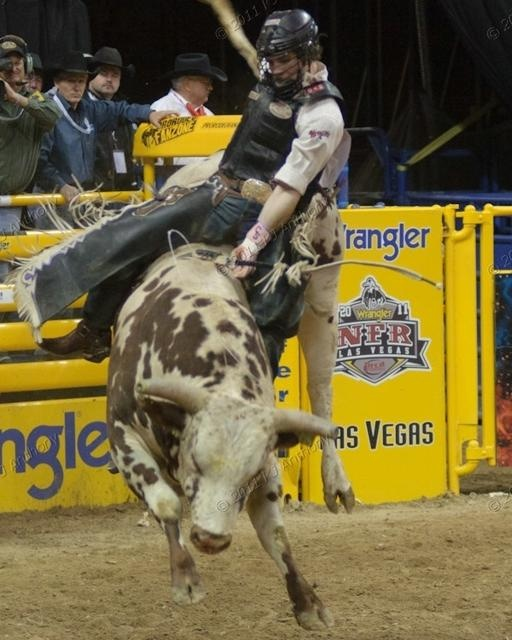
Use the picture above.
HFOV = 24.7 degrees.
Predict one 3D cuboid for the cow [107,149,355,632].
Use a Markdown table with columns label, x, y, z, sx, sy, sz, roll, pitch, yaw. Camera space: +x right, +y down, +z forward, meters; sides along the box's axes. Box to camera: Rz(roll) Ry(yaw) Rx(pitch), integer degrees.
| label | x | y | z | sx | sy | sz | roll | pitch | yaw |
| --- | --- | --- | --- | --- | --- | --- | --- | --- | --- |
| cow | -0.267 | 0.207 | 5.749 | 0.844 | 1.138 | 2.234 | 11 | 36 | -13 |

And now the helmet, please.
| label | x | y | z | sx | sy | sz | roll | pitch | yaw |
| --- | --- | --- | --- | --- | --- | --- | --- | --- | --- |
| helmet | 0.186 | -1.431 | 5.835 | 0.239 | 0.193 | 0.296 | 19 | 32 | 39 |

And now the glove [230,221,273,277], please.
| label | x | y | z | sx | sy | sz | roll | pitch | yaw |
| --- | --- | --- | --- | --- | --- | --- | --- | --- | --- |
| glove | -0.015 | -0.342 | 5.829 | 0.084 | 0.271 | 0.161 | 43 | -22 | -24 |

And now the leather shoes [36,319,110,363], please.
| label | x | y | z | sx | sy | sz | roll | pitch | yaw |
| --- | --- | --- | --- | --- | --- | --- | --- | --- | --- |
| leather shoes | -1.083 | 0.120 | 6.419 | 0.541 | 0.255 | 0.171 | 5 | 10 | -10 |
